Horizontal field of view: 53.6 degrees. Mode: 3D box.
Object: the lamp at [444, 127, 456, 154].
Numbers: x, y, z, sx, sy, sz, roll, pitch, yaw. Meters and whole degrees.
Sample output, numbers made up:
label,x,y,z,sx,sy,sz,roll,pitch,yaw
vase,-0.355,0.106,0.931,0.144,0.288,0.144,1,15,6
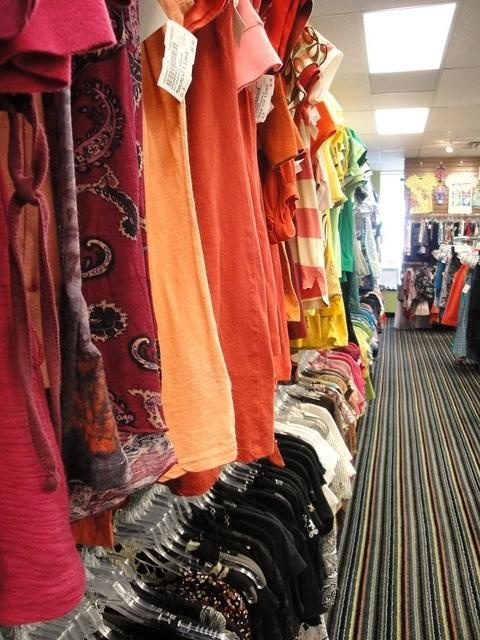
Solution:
label,x,y,z,sx,sy,sz,roll,pitch,yaw
lamp,3.063,-2.653,6.962,0.117,0.222,0.122,14,38,38
